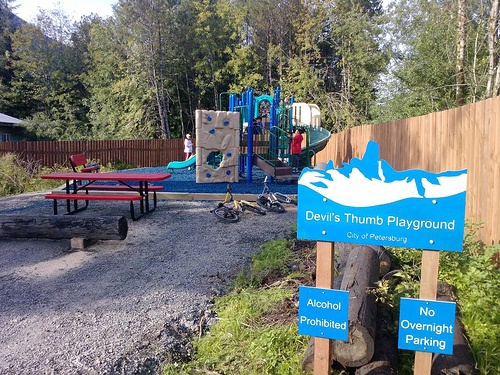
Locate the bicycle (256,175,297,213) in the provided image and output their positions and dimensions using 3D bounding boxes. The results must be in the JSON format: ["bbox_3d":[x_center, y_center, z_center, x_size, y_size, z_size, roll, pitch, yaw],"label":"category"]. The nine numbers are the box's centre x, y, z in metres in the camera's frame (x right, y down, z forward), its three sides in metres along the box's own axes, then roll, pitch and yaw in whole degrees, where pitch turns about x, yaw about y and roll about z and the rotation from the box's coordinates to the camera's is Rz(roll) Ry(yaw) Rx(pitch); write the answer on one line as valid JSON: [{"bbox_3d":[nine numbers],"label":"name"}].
[{"bbox_3d":[0.772,0.235,10.864,0.672,0.610,1.124,35,13,30],"label":"bicycle"}]

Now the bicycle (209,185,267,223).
[{"bbox_3d":[-0.297,0.483,9.786,0.806,0.712,1.348,24,13,36],"label":"bicycle"}]

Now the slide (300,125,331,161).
[{"bbox_3d":[3.164,-2.230,20.054,1.146,1.642,3.072,1,13,14],"label":"slide"}]
